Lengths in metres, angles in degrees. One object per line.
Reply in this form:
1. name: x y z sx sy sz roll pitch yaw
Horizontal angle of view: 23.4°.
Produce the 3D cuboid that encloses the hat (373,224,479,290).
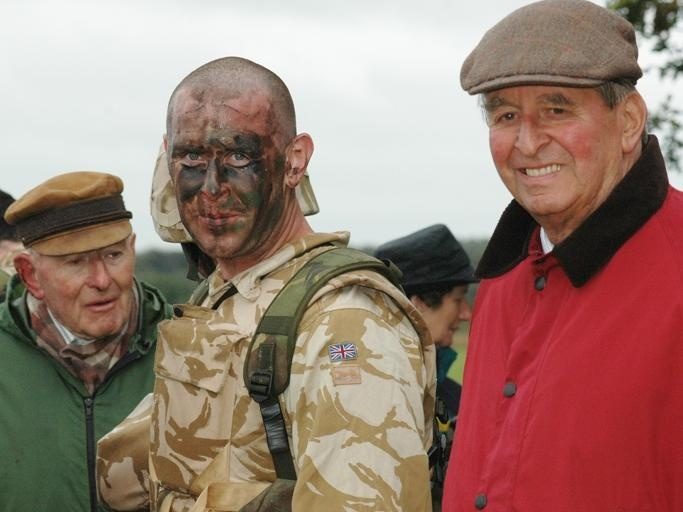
1. hat: 0.508 0.012 9.807 0.495 0.196 0.369 -17 5 -4
